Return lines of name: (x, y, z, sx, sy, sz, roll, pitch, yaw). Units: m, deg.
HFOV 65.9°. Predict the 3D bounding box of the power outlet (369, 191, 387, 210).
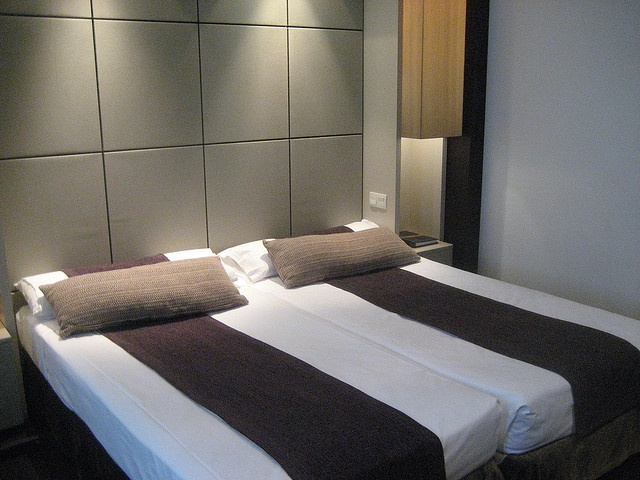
power outlet: (0.463, -0.313, 3.947, 0.014, 0.134, 0.186, -16, 16, -38)
